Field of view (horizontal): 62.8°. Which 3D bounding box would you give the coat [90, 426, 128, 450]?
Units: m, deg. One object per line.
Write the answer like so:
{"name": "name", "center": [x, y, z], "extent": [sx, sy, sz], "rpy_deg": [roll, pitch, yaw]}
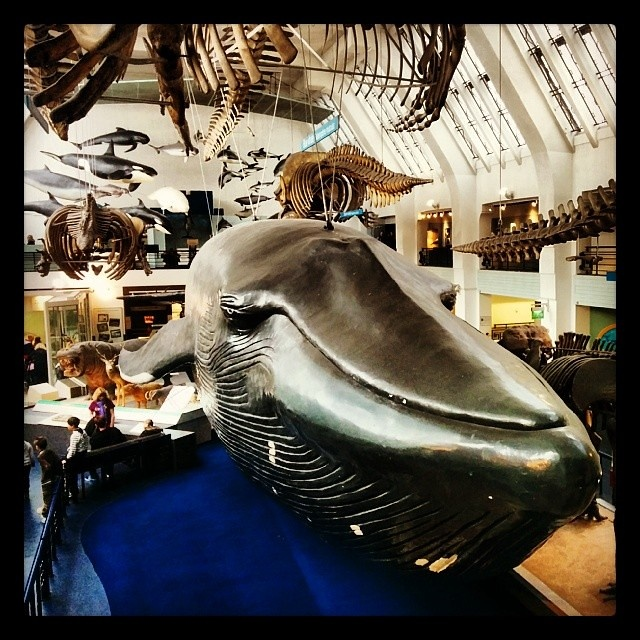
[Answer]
{"name": "coat", "center": [-2.344, 1.279, 5.696], "extent": [0.346, 0.232, 0.348], "rpy_deg": [-3, -10, 26]}

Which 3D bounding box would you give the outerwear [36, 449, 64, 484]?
{"name": "outerwear", "center": [-2.667, 1.445, 5.200], "extent": [0.258, 0.321, 0.200], "rpy_deg": [1, -6, -7]}

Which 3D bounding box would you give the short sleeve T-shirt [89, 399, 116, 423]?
{"name": "short sleeve T-shirt", "center": [-2.849, 1.196, 6.850], "extent": [0.308, 0.422, 0.210], "rpy_deg": [-1, -2, -5]}
